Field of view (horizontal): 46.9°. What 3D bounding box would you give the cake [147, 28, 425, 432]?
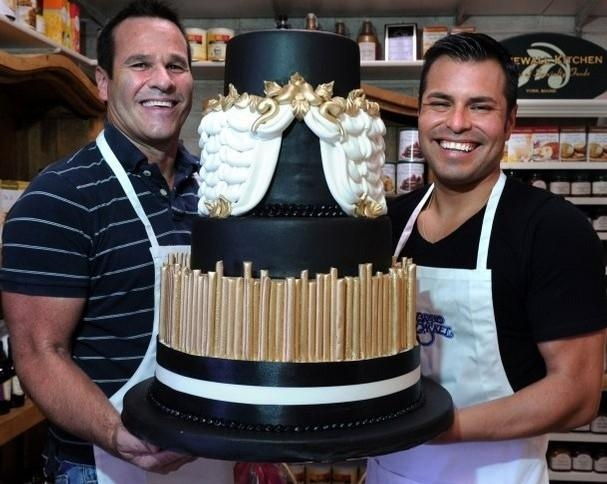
[{"bbox_3d":[-0.042,-0.042,2.088,0.842,1.112,0.881,0,0,-3],"label":"cake"}]
